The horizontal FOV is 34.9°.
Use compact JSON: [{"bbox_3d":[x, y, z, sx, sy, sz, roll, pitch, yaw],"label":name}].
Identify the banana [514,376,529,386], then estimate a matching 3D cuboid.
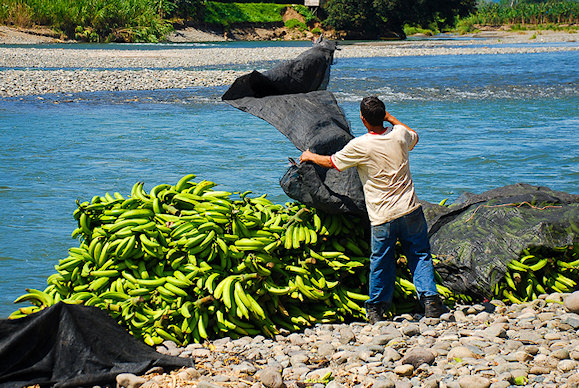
[{"bbox_3d":[5.878,4.739,23.289,0.342,0.195,0.134,-1,14,-2],"label":"banana"}]
